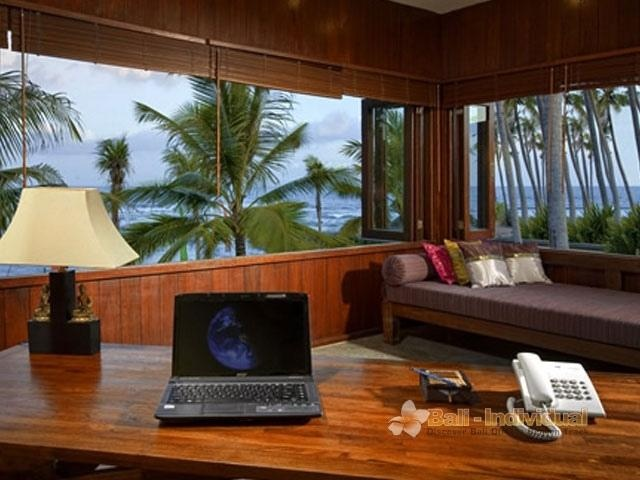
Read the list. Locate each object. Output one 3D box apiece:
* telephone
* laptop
[{"bbox_3d":[0.758,0.453,1.593,0.247,0.095,0.285,-2,20,-5],"label":"telephone"},{"bbox_3d":[-0.276,0.399,1.683,0.410,0.284,0.395,0,13,-2],"label":"laptop"}]
